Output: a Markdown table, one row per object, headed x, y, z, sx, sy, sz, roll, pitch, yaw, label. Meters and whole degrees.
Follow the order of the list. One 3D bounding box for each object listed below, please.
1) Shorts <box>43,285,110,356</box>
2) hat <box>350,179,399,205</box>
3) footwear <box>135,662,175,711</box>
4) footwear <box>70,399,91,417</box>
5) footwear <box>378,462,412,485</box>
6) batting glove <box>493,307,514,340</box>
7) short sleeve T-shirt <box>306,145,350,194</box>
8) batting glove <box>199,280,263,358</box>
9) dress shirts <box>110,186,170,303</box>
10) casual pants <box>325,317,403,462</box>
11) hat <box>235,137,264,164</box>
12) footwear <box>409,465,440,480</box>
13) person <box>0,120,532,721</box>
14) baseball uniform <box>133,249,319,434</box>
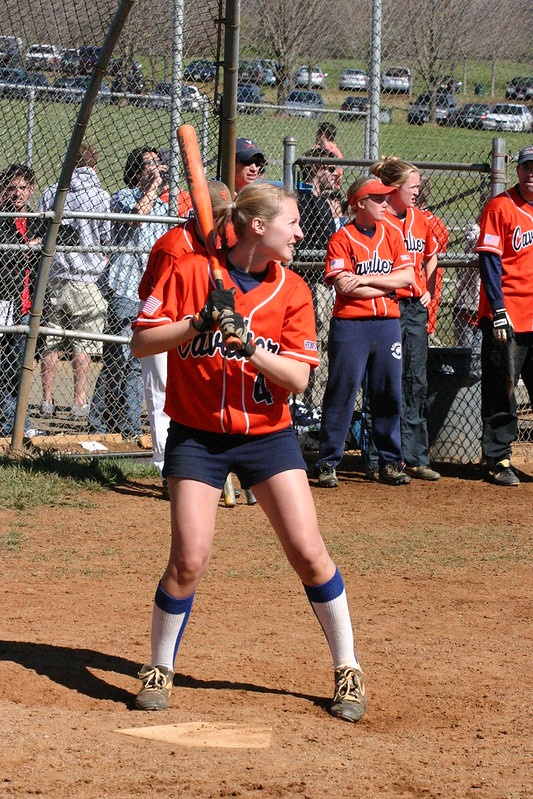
| x | y | z | sx | sy | sz | roll | pitch | yaw | label |
| --- | --- | --- | --- | --- | --- | --- | --- | --- | --- |
| -1.536 | -0.686 | 7.651 | 0.480 | 0.596 | 0.347 | 21 | 22 | 25 | Shorts |
| 0.663 | -1.285 | 5.935 | 0.240 | 0.085 | 0.152 | -16 | 1 | 20 | hat |
| -0.358 | 0.929 | 3.033 | 0.081 | 0.082 | 0.195 | 2 | 0 | 2 | footwear |
| -1.526 | 0.091 | 7.736 | 0.098 | 0.100 | 0.253 | 1 | 3 | -4 | footwear |
| 0.935 | 0.528 | 6.599 | 0.307 | 0.211 | 0.102 | -2 | -4 | 28 | footwear |
| 1.553 | -0.505 | 6.294 | 0.147 | 0.193 | 0.075 | -31 | -14 | 31 | batting glove |
| 0.404 | -1.751 | 7.194 | 0.368 | 0.350 | 0.292 | 15 | 20 | 41 | short sleeve T-shirt |
| -0.134 | -0.226 | 2.723 | 0.144 | 0.203 | 0.060 | -15 | -25 | -52 | batting glove |
| -1.062 | -1.124 | 7.213 | 0.478 | 0.702 | 0.266 | 40 | 30 | 27 | dress shirts |
| 0.645 | -0.082 | 6.335 | 0.649 | 1.083 | 0.328 | 3 | -9 | -19 | casual pants |
| -0.131 | -1.522 | 5.768 | 0.143 | 0.102 | 0.188 | 0 | 19 | -33 | hat |
| 1.125 | 0.528 | 6.854 | 0.258 | 0.110 | 0.088 | 1 | 3 | 36 | footwear |
| -0.071 | 0.191 | 2.987 | 0.695 | 1.720 | 0.542 | 12 | 14 | 38 | person |
| -0.135 | -0.187 | 2.996 | 0.640 | 0.545 | 0.315 | 5 | 13 | -9 | baseball uniform |
